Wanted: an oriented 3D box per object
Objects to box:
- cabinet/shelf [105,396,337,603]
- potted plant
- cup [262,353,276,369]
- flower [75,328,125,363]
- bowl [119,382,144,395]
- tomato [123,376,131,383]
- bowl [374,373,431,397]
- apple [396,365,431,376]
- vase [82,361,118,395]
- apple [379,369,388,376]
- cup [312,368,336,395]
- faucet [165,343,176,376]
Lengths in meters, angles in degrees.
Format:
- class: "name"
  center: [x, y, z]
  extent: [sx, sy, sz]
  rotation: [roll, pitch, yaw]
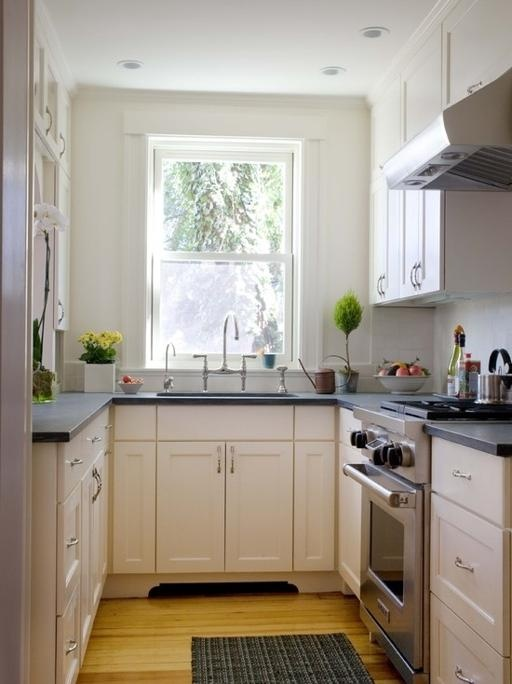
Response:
- class: "cabinet/shelf"
  center: [-0.199, 0.729, 2.588]
  extent: [0.747, 0.754, 0.311]
  rotation: [0, -7, -4]
- class: "potted plant"
  center: [0.535, 0.003, 3.198]
  extent: [0.161, 0.570, 0.260]
  rotation: [-1, -4, 12]
- class: "cup"
  center: [0.067, 0.109, 3.278]
  extent: [0.072, 0.085, 0.076]
  rotation: [1, 1, 0]
- class: "flower"
  center: [-0.854, 0.025, 3.046]
  extent: [0.162, 0.178, 0.229]
  rotation: [0, 0, -9]
- class: "bowl"
  center: [-0.651, 0.235, 2.867]
  extent: [0.101, 0.062, 0.083]
  rotation: [1, -4, -6]
- class: "tomato"
  center: [-0.676, 0.195, 2.889]
  extent: [0.034, 0.041, 0.021]
  rotation: [6, -9, -9]
- class: "bowl"
  center: [0.773, 0.224, 2.928]
  extent: [0.255, 0.102, 0.119]
  rotation: [-1, -4, 11]
- class: "apple"
  center: [0.829, 0.157, 2.937]
  extent: [0.128, 0.065, 0.085]
  rotation: [0, -6, 1]
- class: "vase"
  center: [-0.837, 0.185, 2.952]
  extent: [0.135, 0.157, 0.141]
  rotation: [1, -3, 1]
- class: "apple"
  center: [0.685, 0.161, 2.996]
  extent: [0.031, 0.020, 0.032]
  rotation: [4, 7, 39]
- class: "cup"
  center: [0.373, 0.213, 2.987]
  extent: [0.105, 0.135, 0.132]
  rotation: [0, -4, 3]
- class: "faucet"
  center: [-0.494, 0.095, 3.189]
  extent: [0.058, 0.192, 0.274]
  rotation: [1, -4, -8]
